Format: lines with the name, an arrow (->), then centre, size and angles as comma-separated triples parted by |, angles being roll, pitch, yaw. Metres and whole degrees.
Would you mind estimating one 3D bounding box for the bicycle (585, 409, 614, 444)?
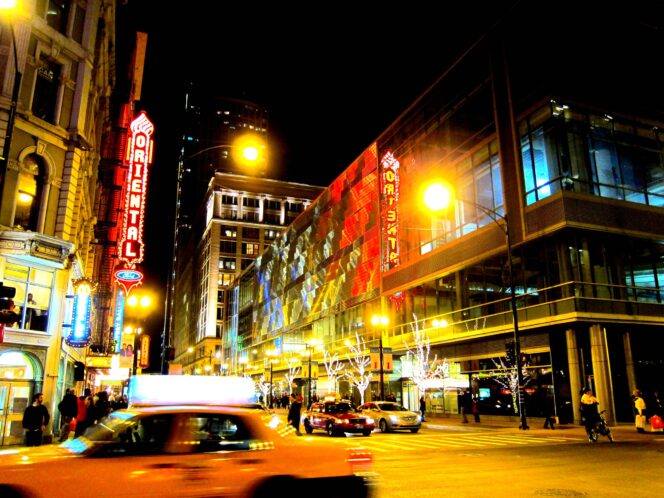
bicycle -> 11.122, 7.394, 23.029 | 0.940, 1.194, 1.848 | -7, -21, 22
